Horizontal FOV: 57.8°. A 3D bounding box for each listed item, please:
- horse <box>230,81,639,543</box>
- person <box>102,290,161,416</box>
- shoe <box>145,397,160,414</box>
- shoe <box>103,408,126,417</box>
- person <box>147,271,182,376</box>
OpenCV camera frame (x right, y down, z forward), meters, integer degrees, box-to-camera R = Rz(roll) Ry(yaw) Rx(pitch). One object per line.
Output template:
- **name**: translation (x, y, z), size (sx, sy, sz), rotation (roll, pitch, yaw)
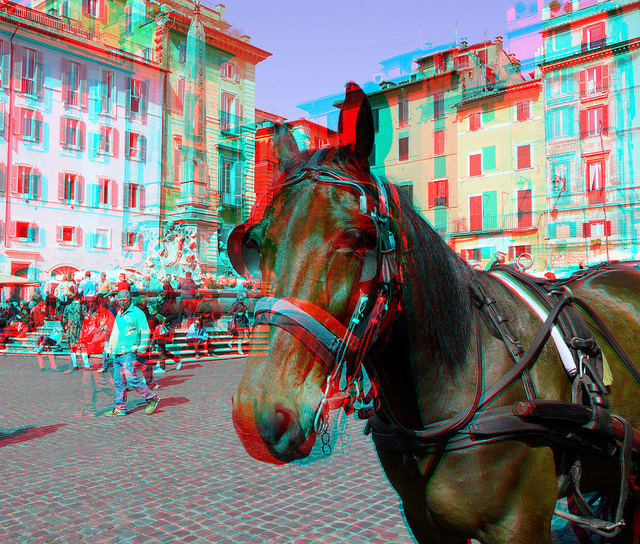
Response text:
- **horse**: translation (0.632, 0.314, 2.925), size (2.201, 2.334, 0.816), rotation (1, -1, -18)
- **person**: translation (-3.100, 1.302, 9.447), size (0.839, 2.004, 0.595), rotation (1, -1, -20)
- **shoe**: translation (-2.746, 2.203, 9.510), size (0.105, 0.129, 0.313), rotation (-4, 20, 13)
- **shoe**: translation (-3.289, 2.243, 9.294), size (0.322, 0.116, 0.286), rotation (1, -2, -22)
- **person**: translation (-4.436, 1.457, 16.418), size (0.919, 0.740, 2.105), rotation (21, 11, -22)
